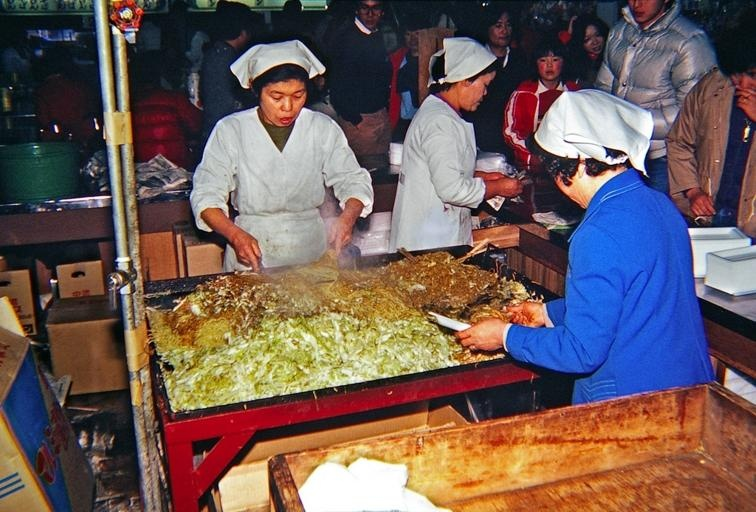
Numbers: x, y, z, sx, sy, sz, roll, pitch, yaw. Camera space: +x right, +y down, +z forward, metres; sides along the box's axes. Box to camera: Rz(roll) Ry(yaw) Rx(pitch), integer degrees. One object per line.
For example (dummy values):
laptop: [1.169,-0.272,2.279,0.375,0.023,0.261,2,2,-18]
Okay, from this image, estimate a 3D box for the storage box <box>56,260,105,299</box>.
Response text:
storage box: [-2.756,0.203,5.525,0.456,0.321,0.244,-7,15,-29]

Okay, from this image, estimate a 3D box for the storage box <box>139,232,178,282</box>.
storage box: [-2.057,-0.006,5.617,0.305,0.468,0.287,-1,2,16]

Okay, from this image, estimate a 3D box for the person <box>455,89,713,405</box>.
person: [1.145,0.013,2.988,1.119,1.620,0.486,-4,18,-6]

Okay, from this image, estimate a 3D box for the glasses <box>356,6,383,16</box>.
glasses: [-0.108,-2.536,6.128,0.246,0.097,0.143,0,18,5]

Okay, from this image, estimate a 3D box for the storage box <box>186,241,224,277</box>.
storage box: [-1.591,-0.019,5.404,0.228,0.436,0.245,-6,1,-15]

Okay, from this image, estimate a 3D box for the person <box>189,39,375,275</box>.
person: [-0.690,-0.666,4.230,1.256,1.629,0.733,-8,19,-17]
